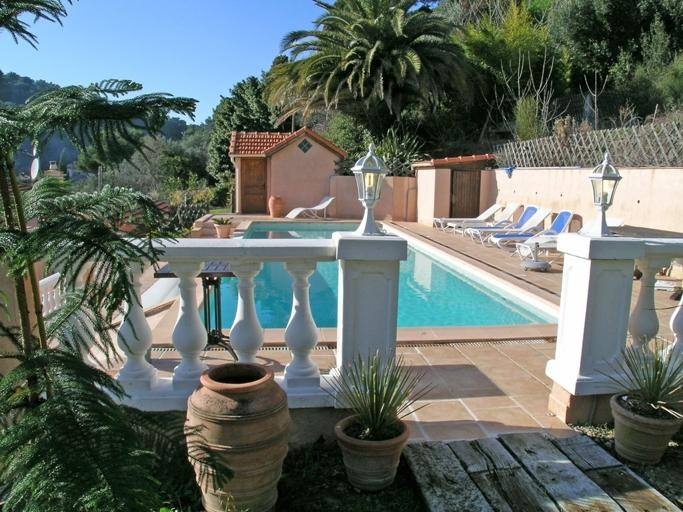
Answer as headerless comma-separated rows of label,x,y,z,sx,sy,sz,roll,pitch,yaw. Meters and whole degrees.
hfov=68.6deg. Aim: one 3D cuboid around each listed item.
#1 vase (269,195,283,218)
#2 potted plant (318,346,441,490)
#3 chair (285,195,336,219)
vase,-2.622,-1.985,20.137,0.745,1.029,0.805,0,5,-3
potted plant,0.239,0.954,3.316,0.681,0.953,0.695,0,8,-14
chair,-1.262,-1.883,19.864,1.652,0.773,0.974,-4,8,-18
